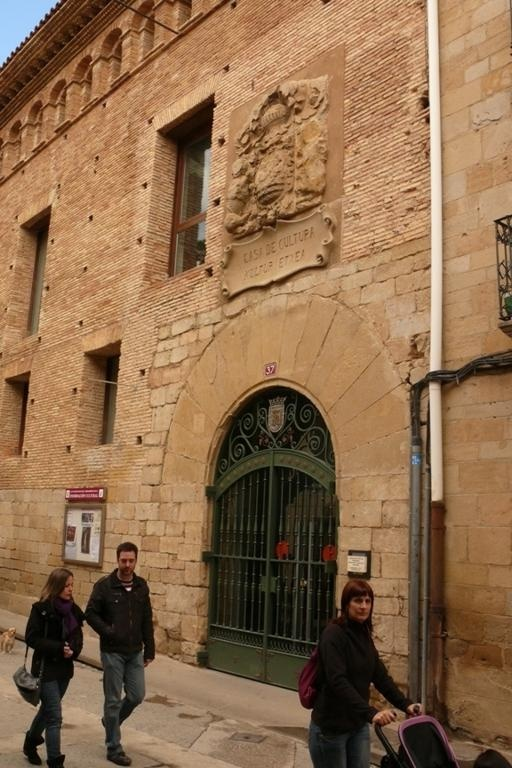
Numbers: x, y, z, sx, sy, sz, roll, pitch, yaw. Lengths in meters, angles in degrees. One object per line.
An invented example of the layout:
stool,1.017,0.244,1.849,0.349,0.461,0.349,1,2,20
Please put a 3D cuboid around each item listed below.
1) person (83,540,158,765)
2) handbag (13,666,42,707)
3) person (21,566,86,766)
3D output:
person,-0.976,1.838,4.821,0.494,1.403,0.479,5,-14,-8
handbag,-1.435,1.895,4.279,0.165,0.262,0.362,7,-15,-16
person,-1.313,1.787,4.361,0.356,1.194,0.401,7,-15,-15
